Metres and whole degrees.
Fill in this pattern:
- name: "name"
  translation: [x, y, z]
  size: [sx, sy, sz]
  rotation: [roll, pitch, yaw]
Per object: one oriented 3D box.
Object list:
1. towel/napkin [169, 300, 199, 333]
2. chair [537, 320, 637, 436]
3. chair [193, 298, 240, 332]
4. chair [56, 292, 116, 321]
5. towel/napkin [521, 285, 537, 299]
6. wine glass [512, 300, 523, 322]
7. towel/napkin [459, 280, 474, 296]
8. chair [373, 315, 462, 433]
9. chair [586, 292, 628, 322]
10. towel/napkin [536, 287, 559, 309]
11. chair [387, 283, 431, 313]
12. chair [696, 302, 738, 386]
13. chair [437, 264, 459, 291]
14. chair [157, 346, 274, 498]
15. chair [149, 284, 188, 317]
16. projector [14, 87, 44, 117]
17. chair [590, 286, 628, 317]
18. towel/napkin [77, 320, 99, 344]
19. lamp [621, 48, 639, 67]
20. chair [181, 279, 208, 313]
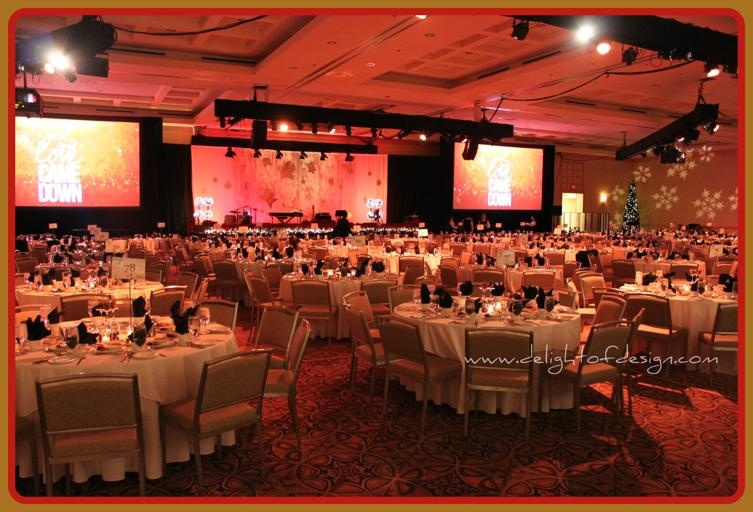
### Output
- name: "towel/napkin"
  translation: [-1.995, 0.580, 5.325]
  size: [0.186, 0.245, 0.584]
  rotation: [13, 17, -8]
- name: "chair"
  translation: [2.366, 1.235, 5.778]
  size: [1.062, 1.202, 0.521]
  rotation: [-8, 15, -33]
- name: "chair"
  translation: [-1.829, 0.675, 6.032]
  size: [0.403, 0.647, 0.421]
  rotation: [1, -4, 0]
- name: "chair"
  translation: [-3.587, 0.637, 6.407]
  size: [0.415, 0.298, 0.387]
  rotation: [2, 2, 1]
- name: "towel/napkin"
  translation: [1.869, 0.446, 6.366]
  size: [0.158, 0.143, 0.153]
  rotation: [0, -2, -9]
- name: "wine glass"
  translation: [1.612, 0.608, 5.969]
  size: [0.103, 0.224, 0.280]
  rotation: [6, 13, 23]
- name: "towel/napkin"
  translation: [1.152, 0.411, 6.720]
  size: [0.169, 0.217, 0.308]
  rotation: [2, 12, 8]
- name: "chair"
  translation: [0.432, 1.226, 5.813]
  size: [0.665, 1.159, 0.875]
  rotation: [-12, 17, -43]
- name: "chair"
  translation: [3.041, 0.669, 6.774]
  size: [0.393, 0.561, 0.330]
  rotation: [1, 3, -32]
- name: "towel/napkin"
  translation: [2.090, 0.496, 6.299]
  size: [0.271, 0.423, 0.282]
  rotation: [-1, -2, 18]
- name: "chair"
  translation: [0.424, 0.569, 7.106]
  size: [0.429, 0.696, 0.440]
  rotation: [1, -3, -14]
- name: "chair"
  translation: [4.415, 1.116, 6.751]
  size: [0.430, 1.063, 0.667]
  rotation: [10, 16, 35]
- name: "chair"
  translation: [1.479, 0.404, 10.407]
  size: [0.375, 0.627, 0.453]
  rotation: [6, 15, 31]
- name: "chair"
  translation: [-1.429, 1.416, 4.646]
  size: [0.999, 1.195, 0.508]
  rotation: [-3, 13, -16]
- name: "chair"
  translation: [-2.672, 0.585, 6.675]
  size: [0.286, 0.501, 0.291]
  rotation: [-1, 24, -32]
- name: "projector"
  translation: [-6.993, -3.135, 10.459]
  size: [0.431, 0.552, 0.666]
  rotation: [-8, 15, -33]
- name: "chair"
  translation: [3.253, 0.600, 7.495]
  size: [0.452, 0.531, 0.425]
  rotation: [-5, 11, -16]
- name: "towel/napkin"
  translation: [-2.742, 0.722, 4.966]
  size: [0.222, 0.209, 0.090]
  rotation: [-3, 0, -2]
- name: "lamp"
  translation: [4.344, -3.497, 8.958]
  size: [0.206, 0.328, 0.696]
  rotation: [6, 13, 22]
- name: "chair"
  translation: [-2.472, 0.537, 7.062]
  size: [0.344, 0.524, 0.311]
  rotation: [13, -5, -37]
